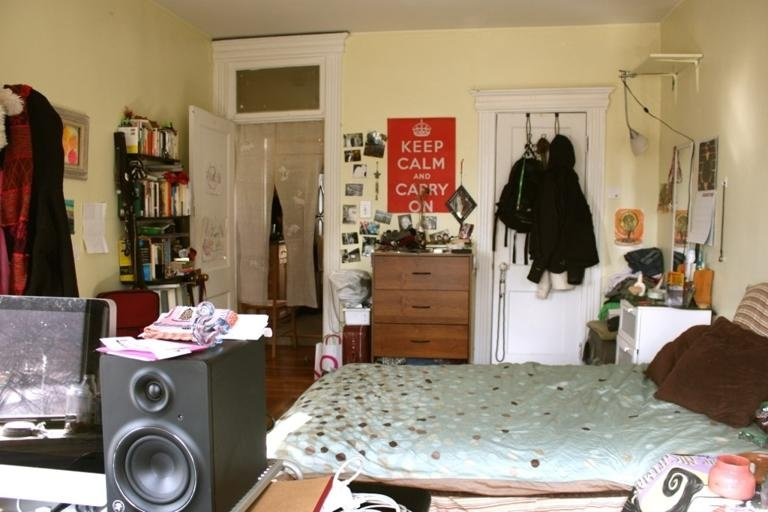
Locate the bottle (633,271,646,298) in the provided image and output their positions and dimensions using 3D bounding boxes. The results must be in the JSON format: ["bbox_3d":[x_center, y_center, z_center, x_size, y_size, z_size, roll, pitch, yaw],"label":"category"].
[{"bbox_3d":[1.983,0.201,4.329,0.050,0.207,0.146,14,-18,-22],"label":"bottle"}]

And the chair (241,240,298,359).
[{"bbox_3d":[-1.330,0.451,5.932,0.541,0.996,0.560,-6,-5,17],"label":"chair"}]

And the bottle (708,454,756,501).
[{"bbox_3d":[1.304,0.815,2.120,0.145,0.114,0.149,0,2,0],"label":"bottle"}]

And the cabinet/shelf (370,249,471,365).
[{"bbox_3d":[0.251,0.447,4.851,0.875,0.915,0.511,2,-6,-12],"label":"cabinet/shelf"}]

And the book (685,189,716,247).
[{"bbox_3d":[2.355,-0.314,4.110,0.030,0.325,0.328,10,5,7],"label":"book"}]

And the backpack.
[{"bbox_3d":[1.201,-0.442,5.020,0.408,1.038,0.337,-3,15,-6],"label":"backpack"}]

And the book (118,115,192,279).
[{"bbox_3d":[-1.877,-0.485,4.517,0.403,1.326,0.760,-1,15,2],"label":"book"}]

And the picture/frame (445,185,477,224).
[{"bbox_3d":[0.707,-0.469,5.140,0.016,0.381,0.369,-3,6,-41],"label":"picture/frame"}]

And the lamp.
[{"bbox_3d":[2.254,-1.229,4.845,0.346,0.729,0.423,-1,15,4],"label":"lamp"}]
